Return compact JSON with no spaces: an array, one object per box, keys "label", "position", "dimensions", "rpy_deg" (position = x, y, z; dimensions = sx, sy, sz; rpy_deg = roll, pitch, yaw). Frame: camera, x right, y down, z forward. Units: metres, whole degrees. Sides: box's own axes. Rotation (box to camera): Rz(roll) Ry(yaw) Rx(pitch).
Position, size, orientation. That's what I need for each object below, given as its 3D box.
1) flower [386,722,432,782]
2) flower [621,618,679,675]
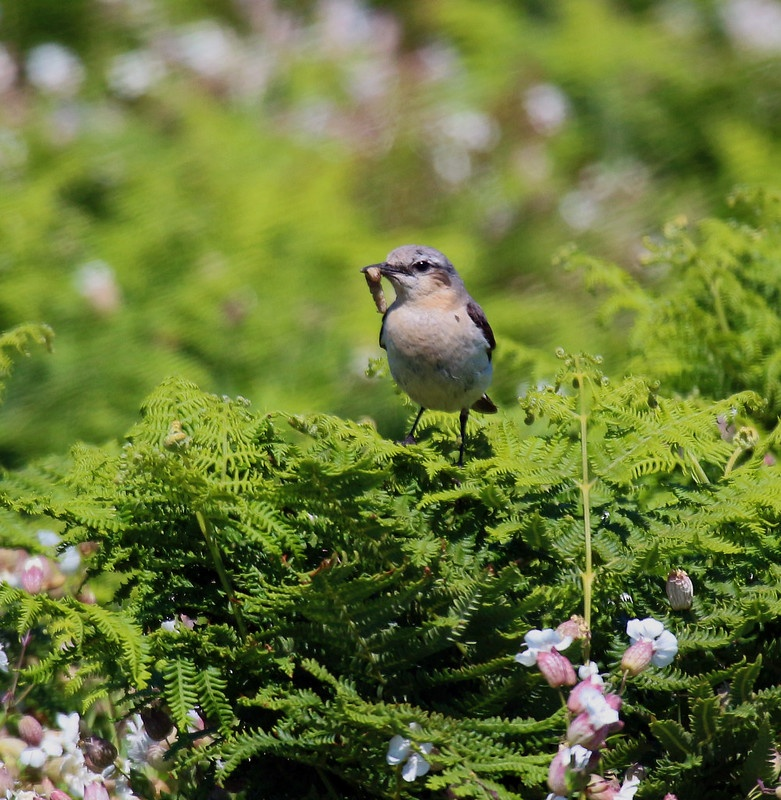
[{"label":"flower","position":[0.026,0.512,1.860],"dimensions":[0.064,0.073,0.053],"rpy_deg":[13,63,4]},{"label":"flower","position":[0.381,0.361,1.907],"dimensions":[0.087,0.079,0.041],"rpy_deg":[10,25,25]}]
